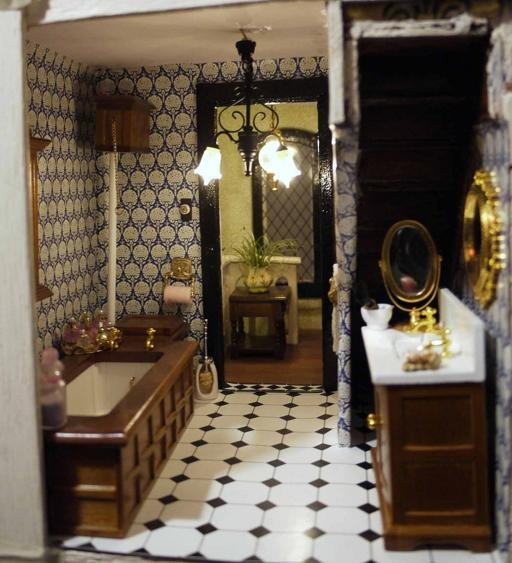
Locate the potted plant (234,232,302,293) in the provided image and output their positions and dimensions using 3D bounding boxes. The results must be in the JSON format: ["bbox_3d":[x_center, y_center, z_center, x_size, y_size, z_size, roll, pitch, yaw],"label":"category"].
[{"bbox_3d":[0.089,-0.162,6.179,0.792,0.605,0.788,-1,-5,2],"label":"potted plant"}]

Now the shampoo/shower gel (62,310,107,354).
[{"bbox_3d":[-1.331,0.387,4.229,0.259,0.144,0.346,0,13,-8],"label":"shampoo/shower gel"}]

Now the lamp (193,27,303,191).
[{"bbox_3d":[-0.005,-1.185,3.760,0.767,0.979,0.651,-13,16,-37],"label":"lamp"}]

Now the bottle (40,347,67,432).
[{"bbox_3d":[-1.033,0.545,2.753,0.119,0.418,0.104,-4,7,-22],"label":"bottle"}]

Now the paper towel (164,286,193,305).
[{"bbox_3d":[-0.682,0.121,4.722,0.219,0.147,0.147,1,17,7],"label":"paper towel"}]

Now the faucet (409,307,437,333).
[{"bbox_3d":[1.012,0.222,3.279,0.102,0.126,0.317,-1,10,6],"label":"faucet"}]

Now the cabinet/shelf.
[{"bbox_3d":[0.812,0.868,2.937,0.647,0.998,1.207,-1,3,8],"label":"cabinet/shelf"}]

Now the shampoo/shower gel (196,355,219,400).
[{"bbox_3d":[-0.431,0.847,4.652,0.187,0.360,0.135,-2,7,-6],"label":"shampoo/shower gel"}]

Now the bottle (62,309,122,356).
[{"bbox_3d":[-1.289,0.382,4.264,0.295,0.168,0.394,1,11,-12],"label":"bottle"}]

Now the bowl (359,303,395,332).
[{"bbox_3d":[0.766,0.219,3.388,0.212,0.161,0.155,-7,9,-39],"label":"bowl"}]
